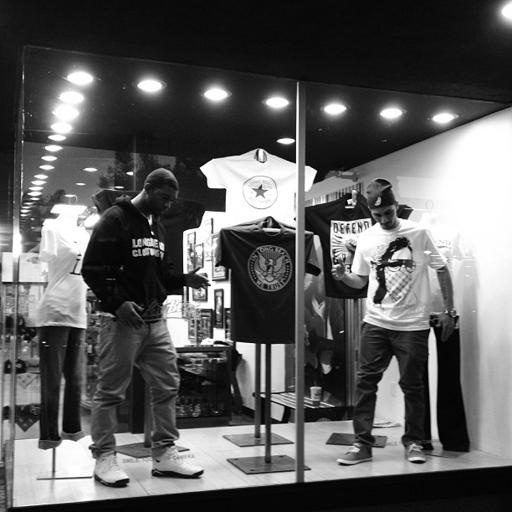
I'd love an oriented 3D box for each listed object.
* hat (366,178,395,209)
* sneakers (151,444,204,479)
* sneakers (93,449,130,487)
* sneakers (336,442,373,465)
[{"bbox_3d":[0.717,-0.361,3.439,0.135,0.157,0.189,-2,-10,5],"label":"hat"},{"bbox_3d":[-0.412,1.066,3.066,0.312,0.196,0.112,1,-6,-12],"label":"sneakers"},{"bbox_3d":[-0.693,1.040,2.852,0.092,0.112,0.233,6,-11,-34],"label":"sneakers"},{"bbox_3d":[0.559,1.120,3.333,0.244,0.112,0.084,4,-10,-24],"label":"sneakers"}]
